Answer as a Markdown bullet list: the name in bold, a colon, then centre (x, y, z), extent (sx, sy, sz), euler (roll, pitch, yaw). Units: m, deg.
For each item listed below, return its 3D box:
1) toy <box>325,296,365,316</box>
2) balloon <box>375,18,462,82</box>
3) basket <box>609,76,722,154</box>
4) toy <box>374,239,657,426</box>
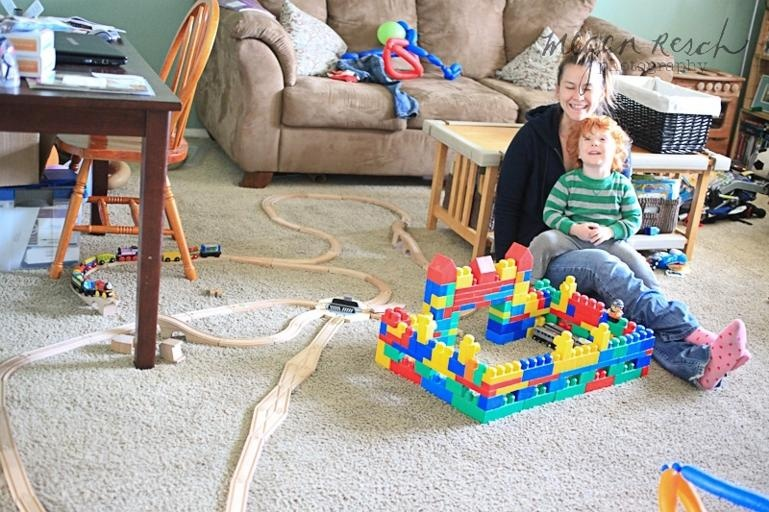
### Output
- **toy**: centre (-0.155, 0.196, 2.322), extent (0.131, 0.034, 0.101), euler (17, 24, 29)
- **balloon**: centre (0.232, -1.265, 3.844), extent (0.579, 0.200, 0.411), euler (27, 50, -9)
- **basket**: centre (1.375, -0.764, 3.059), extent (0.415, 0.267, 0.566), euler (-1, 21, -7)
- **toy**: centre (0.395, 0.279, 2.013), extent (0.918, 0.383, 0.599), euler (-10, 27, -31)
